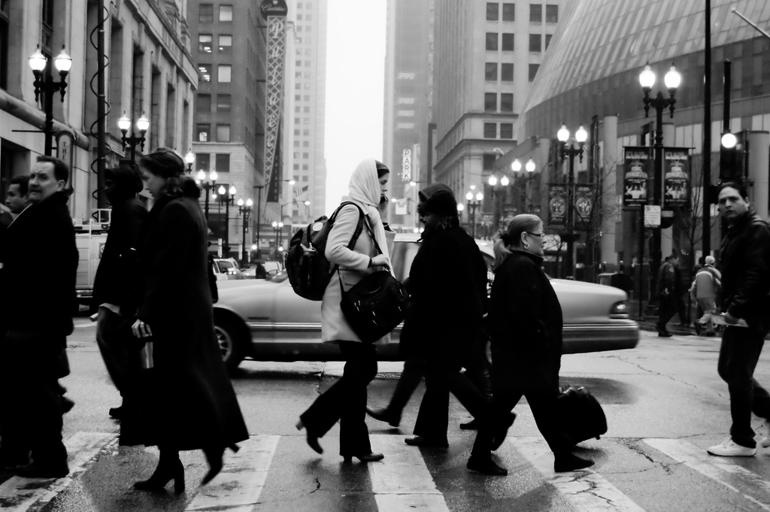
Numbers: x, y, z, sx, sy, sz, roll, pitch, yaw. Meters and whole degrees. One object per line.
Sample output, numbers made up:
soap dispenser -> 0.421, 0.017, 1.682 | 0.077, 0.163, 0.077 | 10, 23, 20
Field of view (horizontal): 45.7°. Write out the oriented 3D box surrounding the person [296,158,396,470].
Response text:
person -> -0.455, 0.615, 10.475 | 1.316, 3.331, 1.177 | 0, 1, 13

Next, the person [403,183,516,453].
person -> 0.903, 0.686, 10.530 | 1.082, 3.087, 1.055 | 0, -1, 42

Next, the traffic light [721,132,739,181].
traffic light -> 9.591, -2.792, 25.431 | 0.382, 1.395, 1.636 | 1, 3, 18

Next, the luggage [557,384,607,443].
luggage -> 2.184, 1.793, 10.237 | 0.235, 0.651, 0.542 | -34, -4, 6

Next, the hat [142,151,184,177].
hat -> -2.293, -0.952, 9.385 | 0.338, 0.191, 0.281 | 4, -5, 19

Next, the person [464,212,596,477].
person -> 1.485, 0.869, 10.314 | 1.207, 2.986, 1.066 | 0, 0, 3

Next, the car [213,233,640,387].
car -> 0.766, 1.048, 14.493 | 6.561, 2.037, 2.546 | 2, -4, 1

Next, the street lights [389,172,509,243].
street lights -> 0.618, -0.596, 10.440 | 1.689, 0.564, 0.394 | 0, 0, -18

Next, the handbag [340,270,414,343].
handbag -> -0.105, 0.526, 9.823 | 1.086, 1.001, 0.467 | 1, 1, 4
